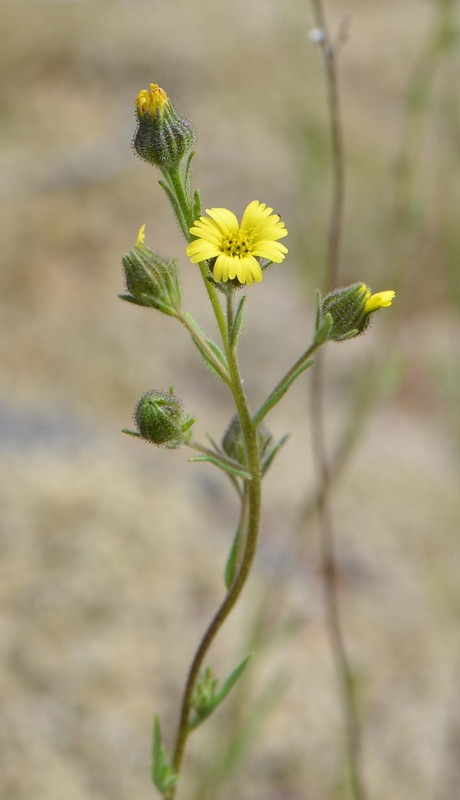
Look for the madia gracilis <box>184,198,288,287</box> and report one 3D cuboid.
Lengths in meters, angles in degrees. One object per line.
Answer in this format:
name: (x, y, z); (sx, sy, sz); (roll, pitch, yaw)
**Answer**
madia gracilis: (0.010, -0.123, 0.715); (0.093, 0.029, 0.097); (13, 39, 24)
